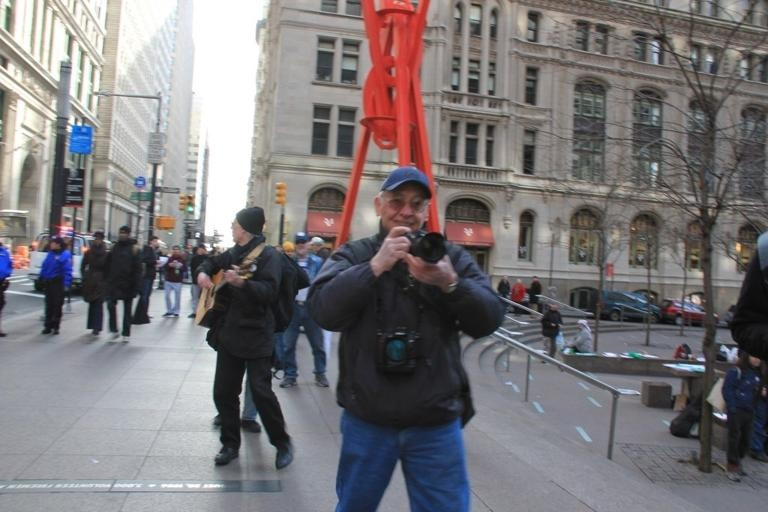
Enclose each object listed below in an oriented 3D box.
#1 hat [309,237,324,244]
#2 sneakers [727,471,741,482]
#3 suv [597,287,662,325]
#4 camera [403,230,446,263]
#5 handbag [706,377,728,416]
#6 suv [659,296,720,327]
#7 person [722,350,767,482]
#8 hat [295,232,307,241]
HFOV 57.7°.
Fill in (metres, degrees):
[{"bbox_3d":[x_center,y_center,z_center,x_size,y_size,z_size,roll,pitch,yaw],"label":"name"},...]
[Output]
[{"bbox_3d":[-1.712,-0.348,18.236,0.338,0.196,0.377,-6,6,-7],"label":"hat"},{"bbox_3d":[6.987,4.349,13.745,0.248,0.129,0.281,2,-2,21],"label":"sneakers"},{"bbox_3d":[13.101,2.696,36.991,4.184,1.698,2.140,-1,0,-1],"label":"suv"},{"bbox_3d":[0.577,-0.072,8.865,0.680,0.333,0.647,-3,-7,-6],"label":"camera"},{"bbox_3d":[6.829,2.821,14.142,0.328,0.636,0.595,2,-2,26],"label":"handbag"},{"bbox_3d":[16.350,3.043,37.190,2.448,1.388,3.377,2,-2,3],"label":"suv"},{"bbox_3d":[7.239,3.216,14.064,0.585,2.378,0.875,1,-3,43],"label":"person"},{"bbox_3d":[-1.871,-0.424,15.888,0.271,0.224,0.377,1,7,2],"label":"hat"}]
